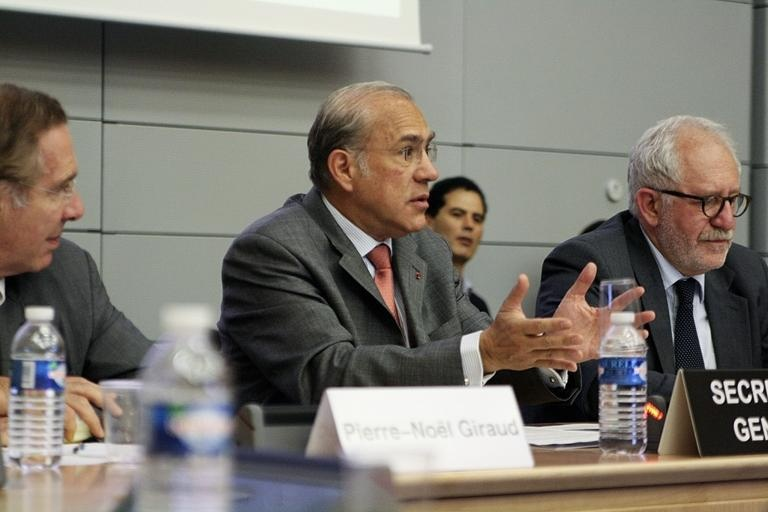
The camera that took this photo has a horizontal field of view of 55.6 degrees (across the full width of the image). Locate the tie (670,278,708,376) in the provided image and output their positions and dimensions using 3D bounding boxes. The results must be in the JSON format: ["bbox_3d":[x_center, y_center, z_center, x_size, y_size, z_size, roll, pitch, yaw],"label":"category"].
[{"bbox_3d":[1.148,0.248,2.748,0.101,0.333,0.246,-1,-4,23],"label":"tie"}]

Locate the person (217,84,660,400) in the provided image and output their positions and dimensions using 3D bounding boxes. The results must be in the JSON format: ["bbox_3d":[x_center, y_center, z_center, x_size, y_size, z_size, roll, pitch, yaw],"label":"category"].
[{"bbox_3d":[0.101,-0.074,2.323,1.174,1.084,0.752,-3,-5,45],"label":"person"}]

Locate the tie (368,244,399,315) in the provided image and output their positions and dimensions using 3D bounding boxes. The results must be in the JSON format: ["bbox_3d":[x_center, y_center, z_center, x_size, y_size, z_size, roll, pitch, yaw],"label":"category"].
[{"bbox_3d":[-0.013,0.065,2.532,0.079,0.268,0.073,-6,-27,-9],"label":"tie"}]
